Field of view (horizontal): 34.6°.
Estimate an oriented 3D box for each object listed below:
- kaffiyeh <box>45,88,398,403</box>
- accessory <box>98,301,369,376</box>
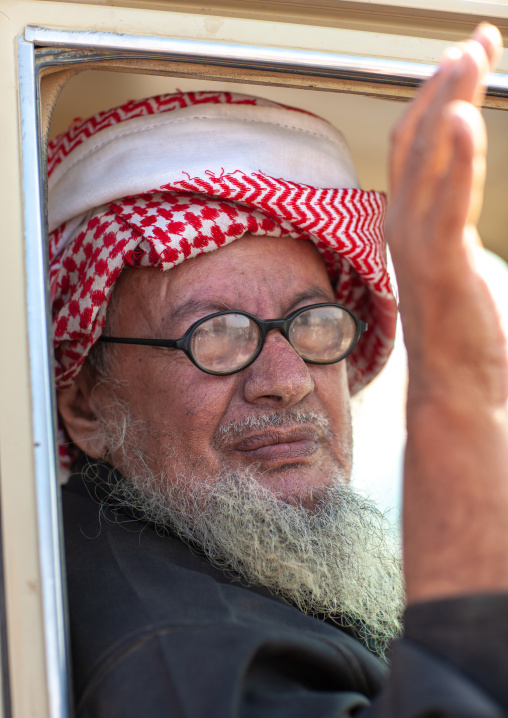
[{"bbox_3d":[-0.061,-0.247,2.151,0.913,0.767,0.568,8,78,-30],"label":"kaffiyeh"},{"bbox_3d":[0.025,-0.050,1.842,0.333,0.314,0.073,-1,83,-34],"label":"accessory"}]
